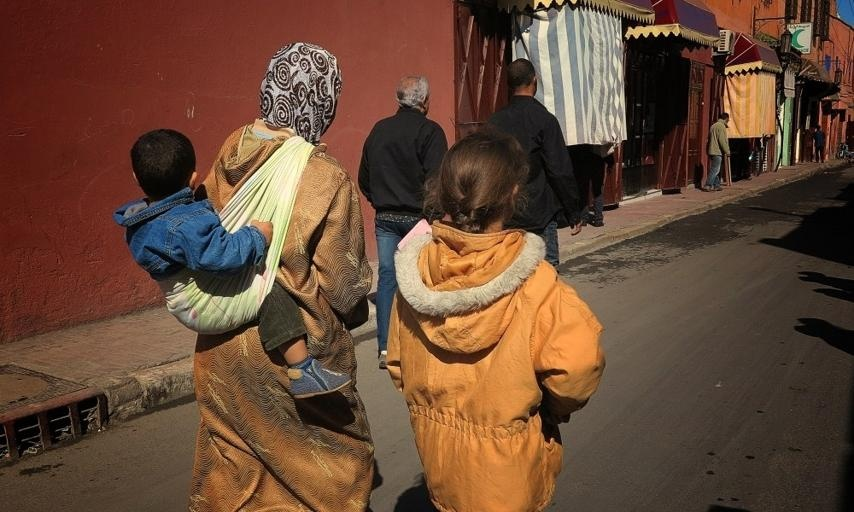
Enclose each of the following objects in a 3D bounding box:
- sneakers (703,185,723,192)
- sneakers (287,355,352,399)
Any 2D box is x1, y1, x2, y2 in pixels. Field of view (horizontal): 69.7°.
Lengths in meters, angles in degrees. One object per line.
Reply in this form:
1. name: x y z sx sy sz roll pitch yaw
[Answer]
1. sneakers: 8.738 -2.065 18.804 0.472 0.231 0.184 -8 13 -24
2. sneakers: -0.712 0.799 4.127 0.401 0.277 0.206 -5 13 -5
